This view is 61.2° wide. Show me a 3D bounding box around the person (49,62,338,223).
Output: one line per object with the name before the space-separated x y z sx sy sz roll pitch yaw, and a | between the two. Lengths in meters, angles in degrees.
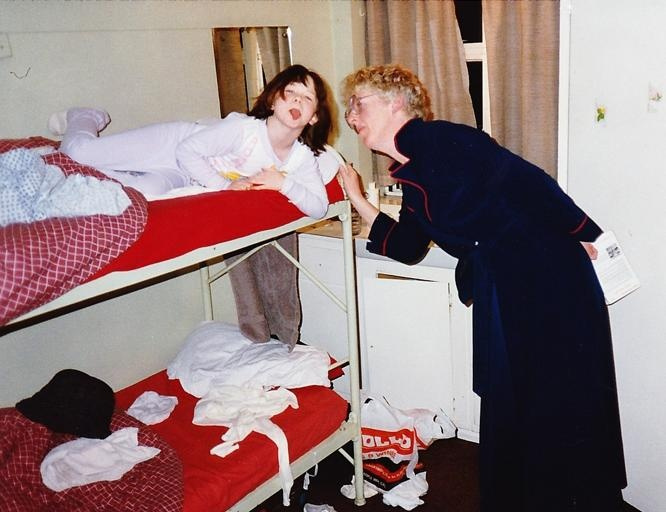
person | -0.639 -0.518 2.355 1.276 0.592 0.483 6 4 9

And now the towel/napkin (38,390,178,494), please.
towel/napkin | -0.894 0.717 2.204 0.206 0.067 0.303 15 20 27

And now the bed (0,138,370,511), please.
bed | -0.528 0.365 2.397 1.313 1.721 0.774 -13 19 -39

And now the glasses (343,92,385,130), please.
glasses | 0.115 -0.551 2.146 0.132 0.046 0.127 -12 4 -34
